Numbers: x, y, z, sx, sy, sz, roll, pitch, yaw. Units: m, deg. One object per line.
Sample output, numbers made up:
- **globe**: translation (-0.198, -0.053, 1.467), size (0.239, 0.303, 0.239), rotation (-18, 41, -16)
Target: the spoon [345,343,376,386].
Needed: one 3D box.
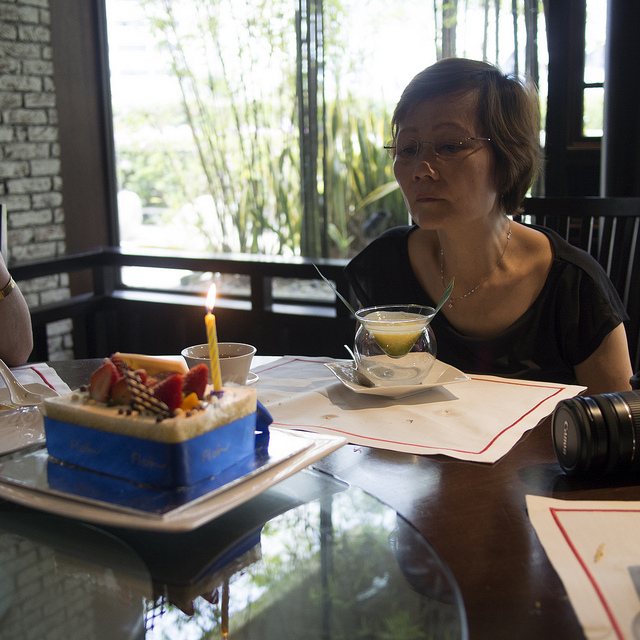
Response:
- **spoon**: translation (0.073, 0.078, 1.000), size (0.021, 0.016, 0.099), rotation (-6, 31, -12)

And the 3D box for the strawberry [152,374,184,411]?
- **strawberry**: translation (-0.152, 0.071, 0.569), size (0.019, 0.039, 0.014), rotation (20, -25, 1)

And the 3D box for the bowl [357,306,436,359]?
- **bowl**: translation (0.130, 0.020, 0.947), size (0.130, 0.094, 0.142), rotation (-1, 12, 0)

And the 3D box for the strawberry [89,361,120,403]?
- **strawberry**: translation (-0.234, 0.067, 0.622), size (0.010, 0.042, 0.031), rotation (-5, 40, -47)

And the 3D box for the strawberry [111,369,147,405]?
- **strawberry**: translation (-0.203, 0.076, 0.615), size (0.021, 0.046, 0.035), rotation (4, -5, 0)
